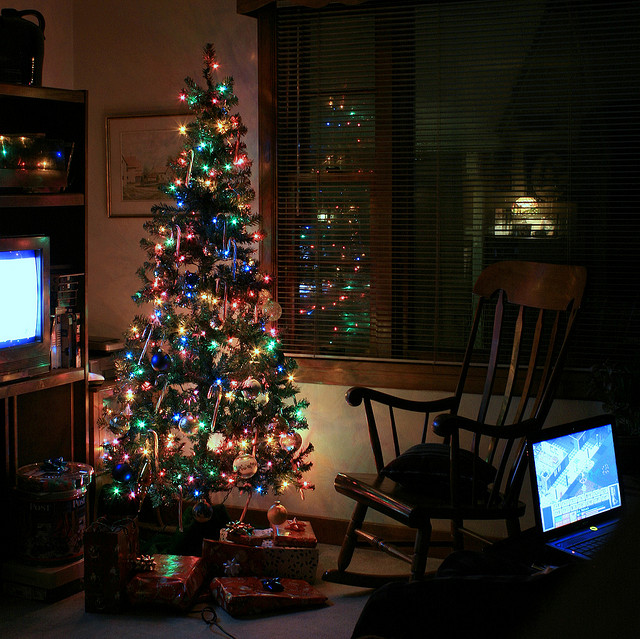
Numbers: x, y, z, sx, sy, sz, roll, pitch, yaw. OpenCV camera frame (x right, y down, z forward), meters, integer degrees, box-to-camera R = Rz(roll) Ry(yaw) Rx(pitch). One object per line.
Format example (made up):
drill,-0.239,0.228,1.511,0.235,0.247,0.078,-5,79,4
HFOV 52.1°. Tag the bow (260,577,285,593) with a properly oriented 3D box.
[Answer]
bow,-0.162,0.936,2.321,0.045,0.020,0.045,2,0,20

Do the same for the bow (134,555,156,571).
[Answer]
bow,-0.608,0.852,2.313,0.050,0.032,0.050,3,1,-39

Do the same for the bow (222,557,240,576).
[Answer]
bow,-0.330,0.912,2.410,0.049,0.052,0.016,25,20,-6

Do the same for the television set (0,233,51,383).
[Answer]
television set,-1.057,-0.042,2.346,0.058,0.518,0.242,3,3,11

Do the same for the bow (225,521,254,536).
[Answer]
bow,-0.311,0.819,2.564,0.109,0.036,0.109,2,4,-20

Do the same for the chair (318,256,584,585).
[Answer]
chair,0.419,0.398,2.207,0.819,1.182,0.770,1,2,4

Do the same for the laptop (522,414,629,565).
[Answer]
laptop,0.627,0.399,1.626,0.177,0.283,0.453,5,4,38

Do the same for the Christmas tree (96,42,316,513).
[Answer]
Christmas tree,-0.448,-0.094,2.619,0.894,1.935,0.545,3,3,0
